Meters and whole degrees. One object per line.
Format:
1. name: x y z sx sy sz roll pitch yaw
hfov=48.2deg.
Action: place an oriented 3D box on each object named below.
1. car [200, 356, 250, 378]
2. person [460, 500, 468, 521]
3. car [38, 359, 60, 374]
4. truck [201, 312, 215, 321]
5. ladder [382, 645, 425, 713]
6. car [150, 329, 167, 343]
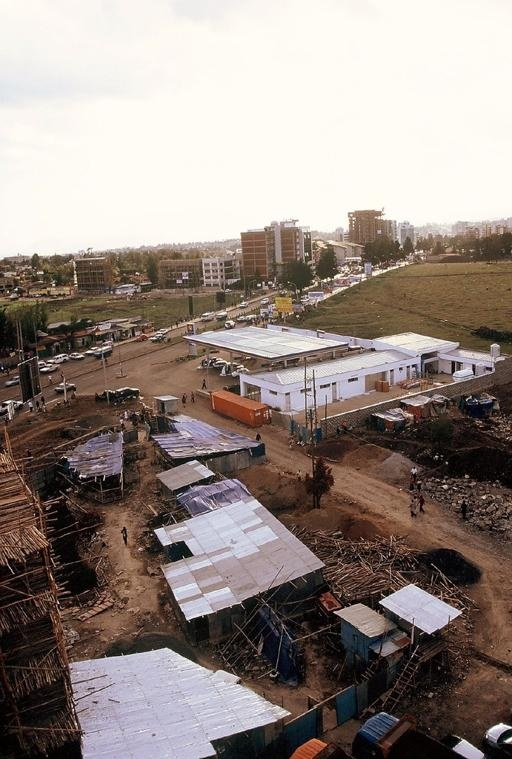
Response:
1. car: -3.163 -1.045 50.565 2.508 1.439 6.060 -9 8 -24
2. person: 8.321 5.210 23.031 0.292 0.580 0.921 -3 8 20
3. car: -19.608 -1.110 54.067 1.598 0.804 2.584 4 9 20
4. truck: -6.736 -8.434 78.728 0.917 1.130 3.116 -1 14 8
5. ladder: 3.610 7.324 13.981 0.504 0.285 2.079 26 49 15
6. car: -11.402 -4.967 67.364 1.147 0.908 2.633 1 10 11
